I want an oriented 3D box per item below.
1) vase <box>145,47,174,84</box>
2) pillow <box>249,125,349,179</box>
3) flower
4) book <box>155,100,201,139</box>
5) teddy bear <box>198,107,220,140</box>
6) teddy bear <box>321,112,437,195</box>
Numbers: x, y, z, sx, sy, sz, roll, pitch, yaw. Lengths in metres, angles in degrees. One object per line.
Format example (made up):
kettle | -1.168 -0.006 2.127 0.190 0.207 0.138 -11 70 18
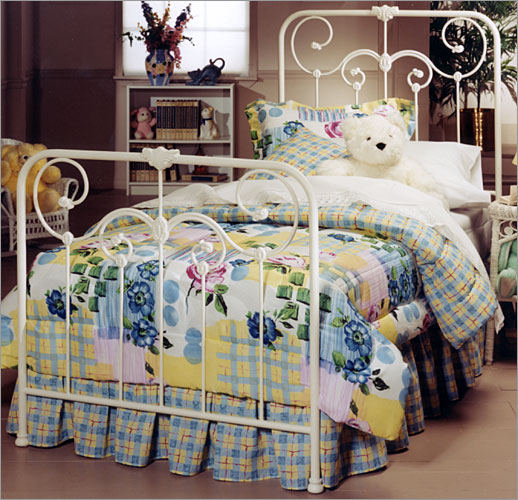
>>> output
vase | -0.857 -1.583 5.023 0.277 0.295 0.265 1 3 -5
pillow | 0.193 -0.415 2.437 0.238 0.072 0.248 24 47 30
flower | -0.858 -1.918 5.209 0.642 0.450 0.690 3 -6 -24
book | -0.687 -1.121 5.282 0.482 0.426 0.332 1 2 9
teddy bear | -0.414 -1.123 5.131 0.226 0.269 0.190 -16 21 -42
teddy bear | 0.456 -0.395 2.301 0.481 0.325 0.240 -1 7 -16
